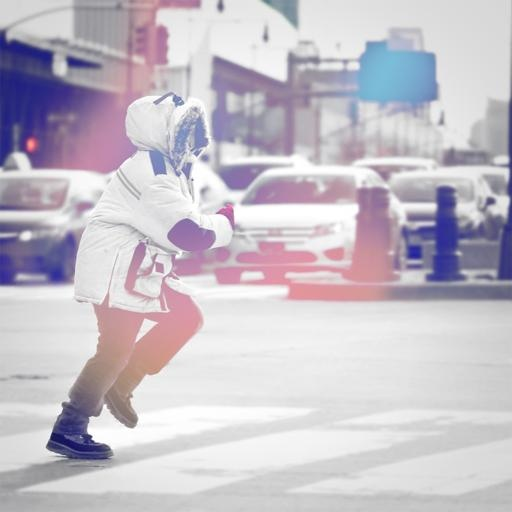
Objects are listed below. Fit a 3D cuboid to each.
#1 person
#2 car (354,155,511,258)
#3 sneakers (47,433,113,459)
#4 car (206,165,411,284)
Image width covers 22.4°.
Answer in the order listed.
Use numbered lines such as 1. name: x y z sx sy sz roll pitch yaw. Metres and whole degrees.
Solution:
1. person: -0.577 0.106 6.487 0.848 1.846 0.548 3 4 -10
2. car: 2.060 -0.535 14.741 1.402 0.840 2.648 0 -3 14
3. sneakers: -0.892 0.955 6.512 0.395 0.137 0.121 4 1 8
4. car: 0.572 -0.376 14.941 1.349 0.793 2.181 -1 -4 18
